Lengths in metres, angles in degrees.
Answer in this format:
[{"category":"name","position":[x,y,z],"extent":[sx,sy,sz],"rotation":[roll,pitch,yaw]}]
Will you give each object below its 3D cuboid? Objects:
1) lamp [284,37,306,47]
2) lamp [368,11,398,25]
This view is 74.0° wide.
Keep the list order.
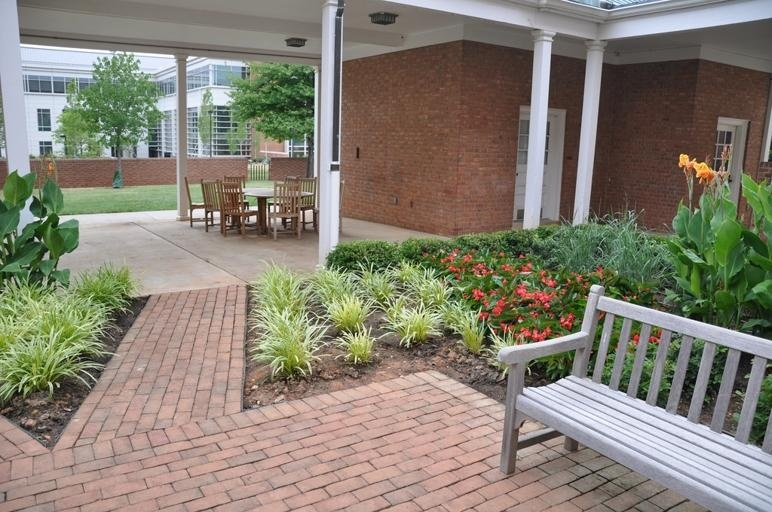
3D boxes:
[{"category":"lamp","position":[-1.754,-4.288,10.241],"extent":[0.352,0.132,0.605],"rotation":[-10,18,-31]},{"category":"lamp","position":[-0.014,-4.128,8.869],"extent":[0.498,0.167,0.376],"rotation":[-2,16,-8]}]
